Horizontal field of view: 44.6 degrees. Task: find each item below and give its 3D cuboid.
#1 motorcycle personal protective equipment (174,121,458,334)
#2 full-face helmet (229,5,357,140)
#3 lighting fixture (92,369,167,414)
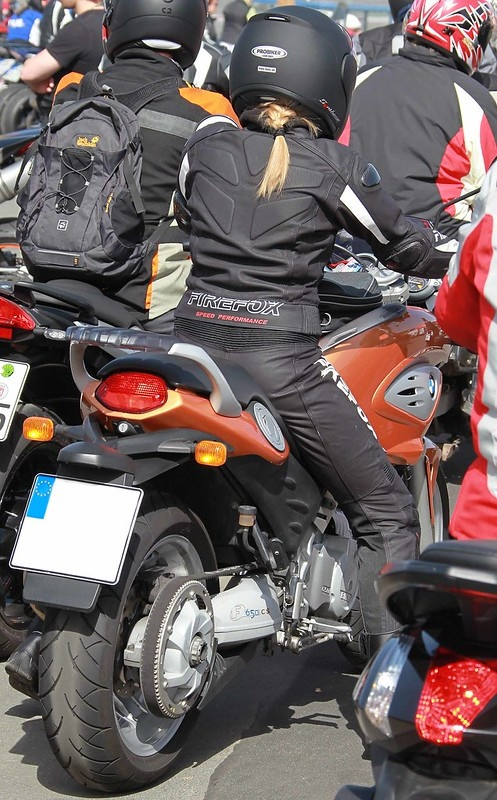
[{"bbox_3d":[0.124,-0.728,2.485,1.210,0.805,0.815,15,27,27],"label":"motorcycle personal protective equipment"},{"bbox_3d":[0.198,-1.260,2.491,0.396,0.431,0.510,7,-16,20],"label":"full-face helmet"},{"bbox_3d":[-0.353,-0.019,1.861,0.237,0.126,0.081,16,28,17],"label":"lighting fixture"}]
